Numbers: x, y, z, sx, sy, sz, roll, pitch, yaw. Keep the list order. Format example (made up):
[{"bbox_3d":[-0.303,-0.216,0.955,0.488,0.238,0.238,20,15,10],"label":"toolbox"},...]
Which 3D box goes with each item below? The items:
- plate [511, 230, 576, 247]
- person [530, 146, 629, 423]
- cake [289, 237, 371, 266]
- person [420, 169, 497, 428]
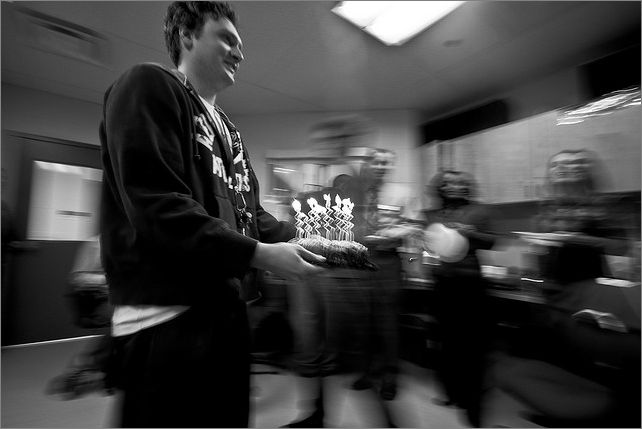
[{"bbox_3d":[1.333,0.149,2.428,0.306,0.080,0.124,-1,1,19],"label":"plate"},{"bbox_3d":[1.622,0.073,2.521,0.451,0.996,0.701,-2,1,35],"label":"person"},{"bbox_3d":[0.075,0.184,1.896,0.259,0.062,0.179,11,3,-24],"label":"cake"},{"bbox_3d":[1.016,0.539,2.974,0.466,1.784,0.952,-2,1,14],"label":"person"}]
